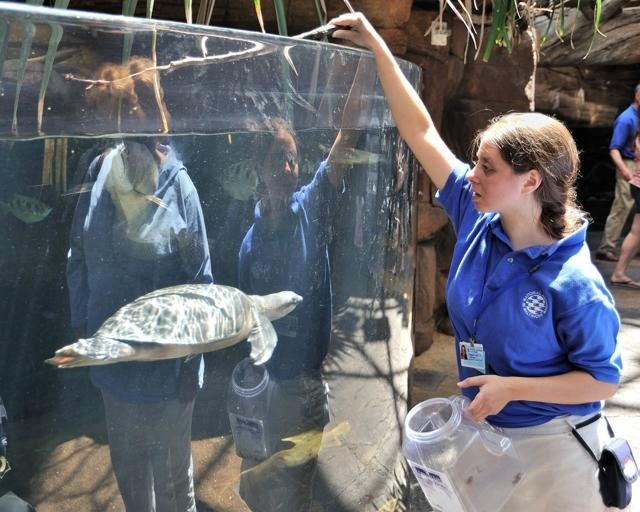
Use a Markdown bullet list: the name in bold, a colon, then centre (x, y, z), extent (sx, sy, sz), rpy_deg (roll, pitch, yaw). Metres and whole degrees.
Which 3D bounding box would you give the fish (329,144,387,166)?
- **fish**: centre (0.093, -0.228, 1.625), extent (0.049, 0.047, 0.191), rpy_deg (10, 6, 31)

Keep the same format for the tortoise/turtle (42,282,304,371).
- **tortoise/turtle**: centre (-0.305, 0.089, 1.363), extent (0.396, 0.169, 0.381), rpy_deg (11, 11, 40)
